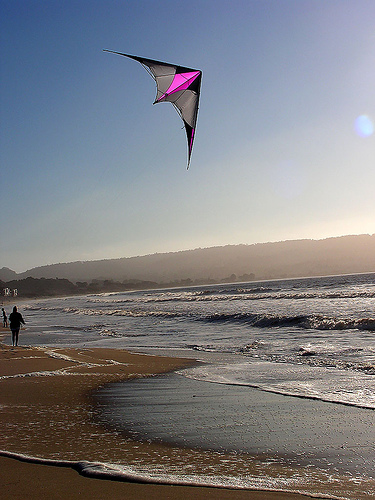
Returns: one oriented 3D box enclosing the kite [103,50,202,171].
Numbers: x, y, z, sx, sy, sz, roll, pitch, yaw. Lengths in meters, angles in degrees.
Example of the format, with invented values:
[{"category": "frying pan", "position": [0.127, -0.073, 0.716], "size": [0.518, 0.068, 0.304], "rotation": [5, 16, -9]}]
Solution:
[{"category": "kite", "position": [-0.093, -1.245, 3.796], "size": [0.464, 0.852, 1.264], "rotation": [-5, -5, 3]}]
